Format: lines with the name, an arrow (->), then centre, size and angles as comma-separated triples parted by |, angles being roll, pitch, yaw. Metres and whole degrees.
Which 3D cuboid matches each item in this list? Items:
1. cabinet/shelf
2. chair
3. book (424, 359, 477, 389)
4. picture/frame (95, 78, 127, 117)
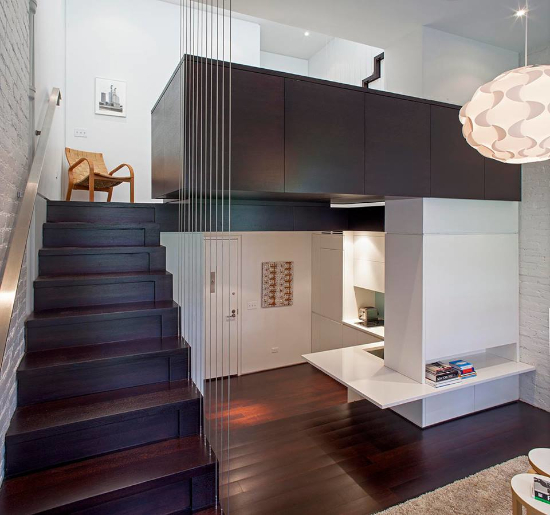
cabinet/shelf -> 1.451, 0.573, 4.993 | 2.360, 2.451, 1.638 | -1, 3, -30
chair -> -2.208, -0.996, 5.571 | 0.684, 0.799, 0.652 | 0, 2, 38
book -> 1.667, 1.101, 4.376 | 0.614, 0.151, 0.269 | -6, 9, -31
picture/frame -> -2.223, -2.145, 6.053 | 0.384, 0.564, 0.016 | 0, -16, -18
